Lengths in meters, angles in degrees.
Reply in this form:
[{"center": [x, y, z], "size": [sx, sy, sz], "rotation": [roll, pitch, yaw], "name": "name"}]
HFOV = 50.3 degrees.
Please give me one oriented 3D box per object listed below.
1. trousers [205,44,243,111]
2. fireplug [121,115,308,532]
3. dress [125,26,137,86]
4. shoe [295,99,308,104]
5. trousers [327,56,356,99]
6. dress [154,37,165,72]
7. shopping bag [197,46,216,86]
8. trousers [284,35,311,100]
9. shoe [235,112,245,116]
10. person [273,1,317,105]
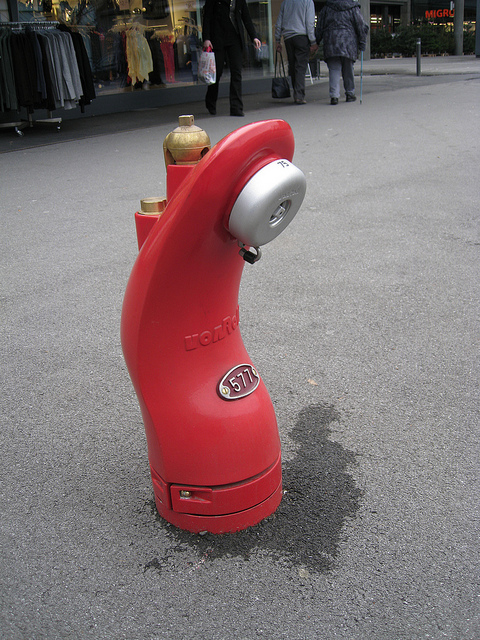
[{"center": [-0.337, -4.993, 10.244], "size": [0.757, 1.258, 0.413], "rotation": [7, 10, 31], "name": "trousers"}, {"center": [-0.054, 0.096, 1.235], "size": [0.433, 1.054, 0.375], "rotation": [-10, 20, -14], "name": "fireplug"}, {"center": [-2.844, -6.768, 13.144], "size": [0.148, 1.294, 0.251], "rotation": [2, 21, 19], "name": "dress"}, {"center": [1.540, -5.376, 12.652], "size": [0.230, 0.100, 0.104], "rotation": [-6, 61, -14], "name": "shoe"}, {"center": [2.432, -5.780, 12.220], "size": [0.573, 0.877, 0.923], "rotation": [2, 21, 18], "name": "trousers"}, {"center": [-2.179, -7.140, 13.819], "size": [0.082, 0.807, 0.248], "rotation": [10, 24, 36], "name": "dress"}, {"center": [-0.643, -4.801, 9.663], "size": [0.323, 0.588, 0.334], "rotation": [-4, 20, 3], "name": "shopping bag"}, {"center": [1.398, -5.952, 12.140], "size": [0.598, 1.322, 0.855], "rotation": [-2, 20, 8], "name": "trousers"}, {"center": [0.002, -4.336, 10.735], "size": [0.198, 0.069, 0.084], "rotation": [0, -16, -7], "name": "shoe"}, {"center": [1.351, -6.334, 12.268], "size": [0.906, 2.205, 1.538], "rotation": [-3, 20, 6], "name": "person"}]
